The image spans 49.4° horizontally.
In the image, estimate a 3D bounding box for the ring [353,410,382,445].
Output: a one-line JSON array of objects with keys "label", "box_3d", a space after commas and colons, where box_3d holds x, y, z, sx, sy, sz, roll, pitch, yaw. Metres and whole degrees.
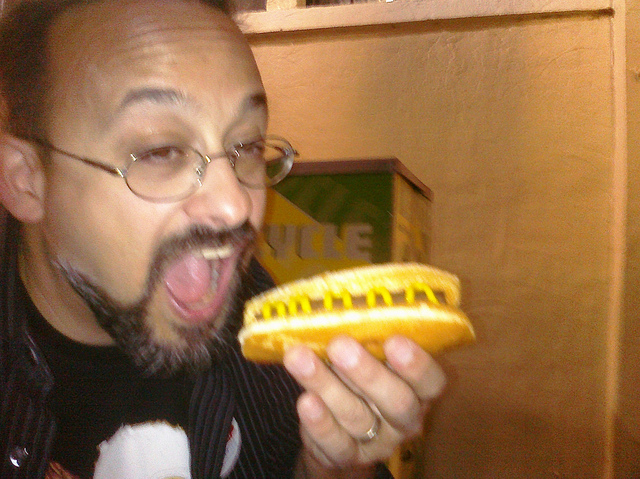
[{"label": "ring", "box_3d": [0.126, 0.530, 1.948, 0.031, 0.083, 0.082, 21, -2, -2]}]

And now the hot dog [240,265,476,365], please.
[{"label": "hot dog", "box_3d": [0.110, 0.200, 1.838, 0.369, 0.110, 0.374, -4, -8, -19]}]
